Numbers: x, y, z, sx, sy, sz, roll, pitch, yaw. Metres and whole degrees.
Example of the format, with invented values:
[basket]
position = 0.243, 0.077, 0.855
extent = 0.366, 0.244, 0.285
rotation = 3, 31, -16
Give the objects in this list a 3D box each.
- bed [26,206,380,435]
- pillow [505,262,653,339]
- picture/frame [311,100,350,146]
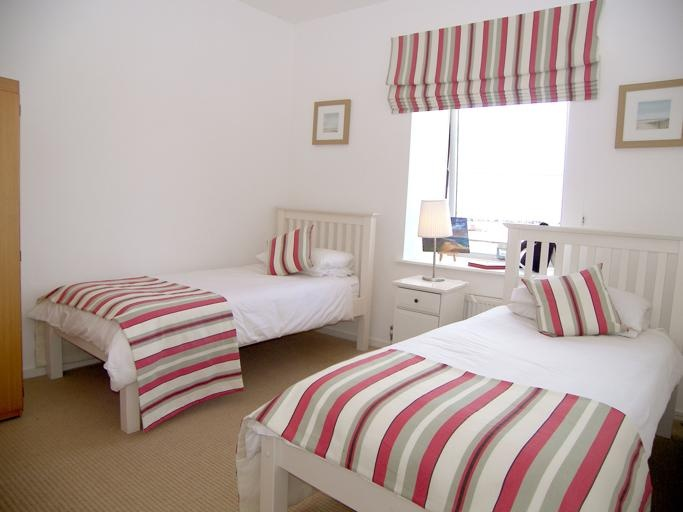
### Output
[bed]
position = -0.931, 0.242, 3.639
extent = 1.394, 1.274, 2.225
rotation = 7, 8, 38
[pillow]
position = 1.354, 0.279, 2.581
extent = 0.460, 0.145, 0.474
rotation = -15, 41, -5
[picture/frame]
position = -0.091, -1.212, 4.221
extent = 0.397, 0.410, 0.031
rotation = 7, 9, 34
